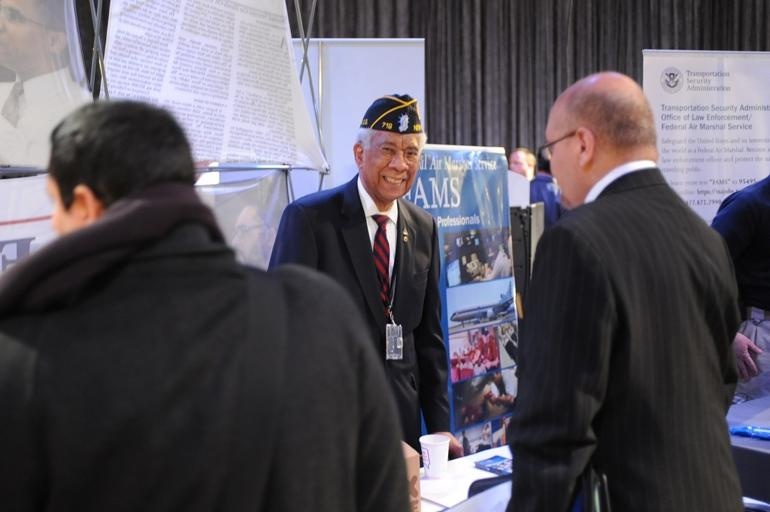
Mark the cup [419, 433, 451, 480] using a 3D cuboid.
[{"bbox_3d":[0.154,0.608,1.889,0.097,0.116,0.102,0,1,0],"label":"cup"}]

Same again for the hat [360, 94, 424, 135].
[{"bbox_3d":[0.028,-0.577,2.548,0.261,0.158,0.361,1,13,-14],"label":"hat"}]

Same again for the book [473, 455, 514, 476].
[{"bbox_3d":[0.355,0.653,1.959,0.091,0.026,0.086,-4,9,-41],"label":"book"}]
